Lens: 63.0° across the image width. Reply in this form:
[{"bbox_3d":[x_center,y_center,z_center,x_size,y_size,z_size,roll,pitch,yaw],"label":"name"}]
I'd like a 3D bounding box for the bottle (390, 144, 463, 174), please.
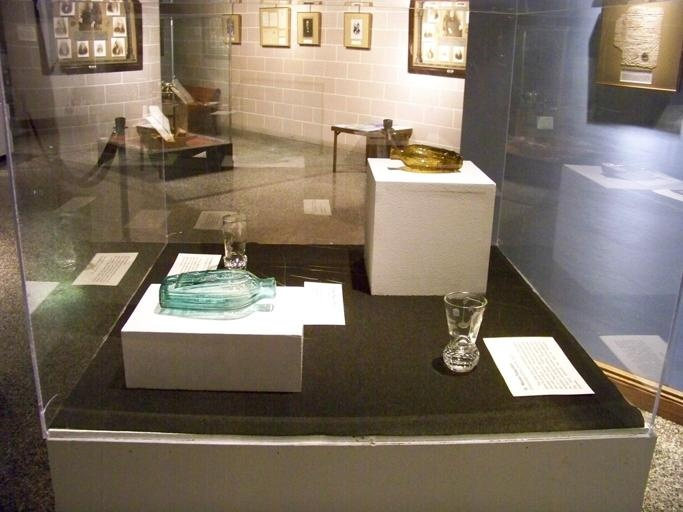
[{"bbox_3d":[0.304,-0.328,1.887,0.185,0.063,0.105,4,39,-7],"label":"bottle"}]

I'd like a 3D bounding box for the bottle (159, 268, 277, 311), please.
[{"bbox_3d":[-0.382,0.100,1.692,0.280,0.100,0.149,1,25,-2],"label":"bottle"}]

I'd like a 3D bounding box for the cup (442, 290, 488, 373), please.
[{"bbox_3d":[0.385,0.216,1.762,0.123,0.190,0.265,6,23,14],"label":"cup"}]

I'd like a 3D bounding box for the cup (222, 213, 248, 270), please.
[{"bbox_3d":[-0.384,-0.052,2.009,0.092,0.169,0.140,-3,23,-10],"label":"cup"}]

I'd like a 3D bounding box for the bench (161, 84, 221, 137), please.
[{"bbox_3d":[-0.520,-0.517,1.954,0.163,0.191,0.174,-9,28,-25],"label":"bench"}]
